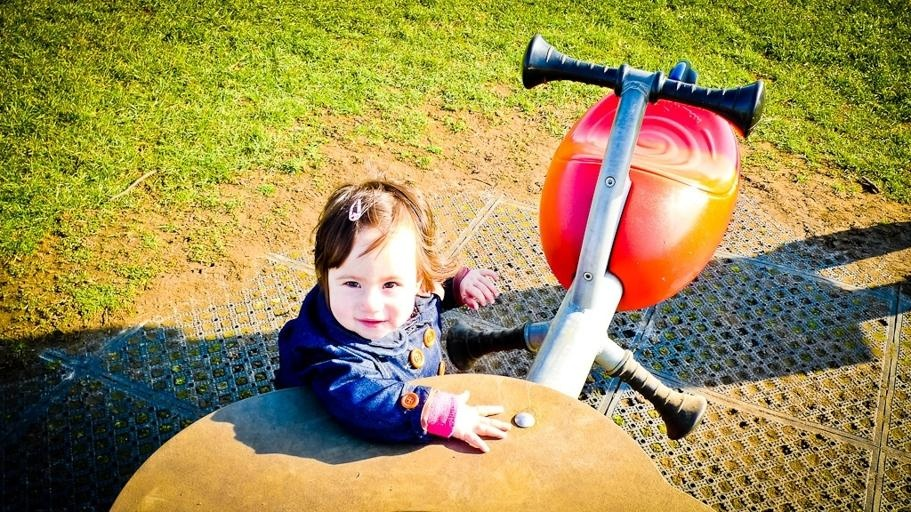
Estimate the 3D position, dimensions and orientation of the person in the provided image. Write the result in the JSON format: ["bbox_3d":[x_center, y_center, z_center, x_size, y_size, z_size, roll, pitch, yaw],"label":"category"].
[{"bbox_3d":[-0.152,0.140,4.080,1.150,1.976,1.251,3,78,7],"label":"person"}]
